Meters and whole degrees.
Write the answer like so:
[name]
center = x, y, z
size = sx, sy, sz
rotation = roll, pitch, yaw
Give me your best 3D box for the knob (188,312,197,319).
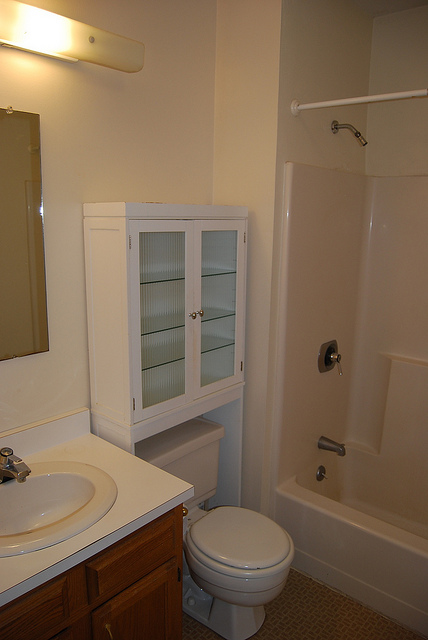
[knob]
center = -0.073, -0.015, 1.724
size = 0.020, 0.017, 0.007
rotation = 16, -18, -19
